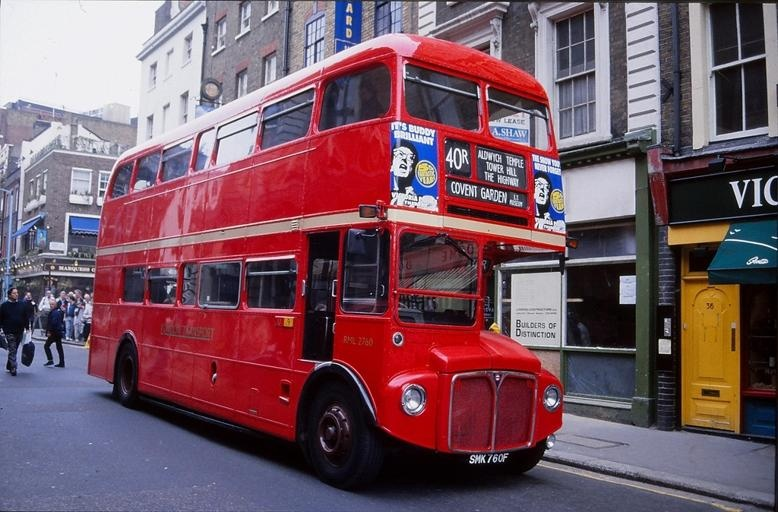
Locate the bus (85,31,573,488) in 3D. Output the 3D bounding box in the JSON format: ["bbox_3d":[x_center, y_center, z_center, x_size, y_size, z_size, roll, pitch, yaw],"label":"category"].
[{"bbox_3d":[-0.890,0.378,10.950,3.508,4.773,9.061,6,-7,-40],"label":"bus"}]

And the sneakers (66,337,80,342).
[{"bbox_3d":[-15.840,4.159,31.548,0.596,0.243,0.183,-10,-14,33],"label":"sneakers"}]

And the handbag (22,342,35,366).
[{"bbox_3d":[-10.379,2.822,18.081,0.247,0.707,0.684,1,2,-35],"label":"handbag"}]

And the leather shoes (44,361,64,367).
[{"bbox_3d":[-10.749,3.448,20.190,0.560,0.244,0.179,9,0,6],"label":"leather shoes"}]

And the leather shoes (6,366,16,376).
[{"bbox_3d":[-10.838,3.299,18.074,0.178,0.244,0.561,9,-20,-37],"label":"leather shoes"}]
